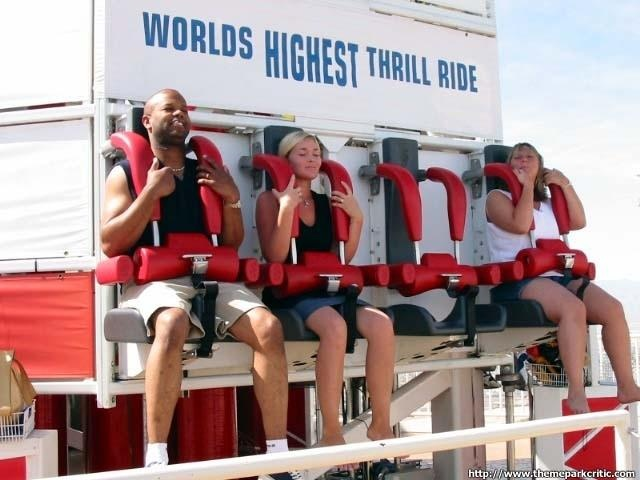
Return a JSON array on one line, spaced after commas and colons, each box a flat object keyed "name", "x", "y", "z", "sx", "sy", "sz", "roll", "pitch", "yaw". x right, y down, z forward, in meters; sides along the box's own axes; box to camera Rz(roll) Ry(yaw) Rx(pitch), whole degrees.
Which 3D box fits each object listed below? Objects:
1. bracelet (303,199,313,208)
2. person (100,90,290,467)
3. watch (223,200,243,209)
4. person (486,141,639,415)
[{"name": "bracelet", "x": -0.074, "y": -0.218, "z": 6.515, "sx": 0.052, "sy": 0.045, "sz": 0.029, "roll": -3, "pitch": 6, "yaw": 0}, {"name": "person", "x": -0.702, "y": 0.197, "z": 5.941, "sx": 0.977, "sy": 2.146, "sz": 0.761, "roll": -2, "pitch": -3, "yaw": -12}, {"name": "watch", "x": -0.495, "y": -0.195, "z": 6.161, "sx": 0.061, "sy": 0.036, "sz": 0.057, "roll": -1, "pitch": -3, "yaw": 38}, {"name": "person", "x": 1.488, "y": 0.208, "z": 6.824, "sx": 0.735, "sy": 1.707, "sz": 0.755, "roll": -2, "pitch": -3, "yaw": -17}]
